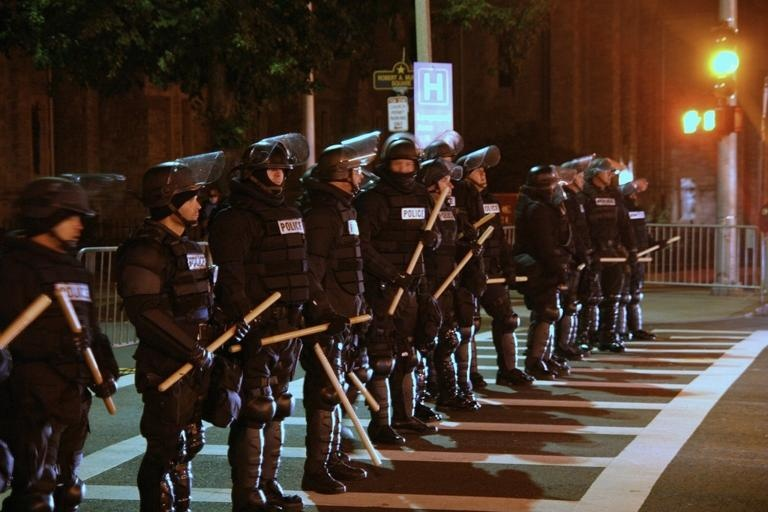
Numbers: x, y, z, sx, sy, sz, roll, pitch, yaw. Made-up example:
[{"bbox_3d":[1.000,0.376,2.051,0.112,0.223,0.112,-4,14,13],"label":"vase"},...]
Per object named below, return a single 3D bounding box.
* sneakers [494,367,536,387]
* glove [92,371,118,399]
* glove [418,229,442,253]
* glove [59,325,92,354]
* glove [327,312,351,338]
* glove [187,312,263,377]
[{"bbox_3d":[1.923,1.797,13.196,0.520,0.195,0.248,-2,-1,11],"label":"sneakers"},{"bbox_3d":[-2.673,1.243,8.522,0.255,0.159,0.232,0,-8,-11],"label":"glove"},{"bbox_3d":[0.572,-0.202,11.010,0.232,0.163,0.274,1,-11,2],"label":"glove"},{"bbox_3d":[-2.901,0.778,8.409,0.248,0.231,0.203,-4,10,-20],"label":"glove"},{"bbox_3d":[-0.489,0.743,9.526,0.248,0.296,0.426,-1,9,-3],"label":"glove"},{"bbox_3d":[-1.562,0.843,8.664,1.000,0.142,0.136,-39,11,-29],"label":"glove"}]
